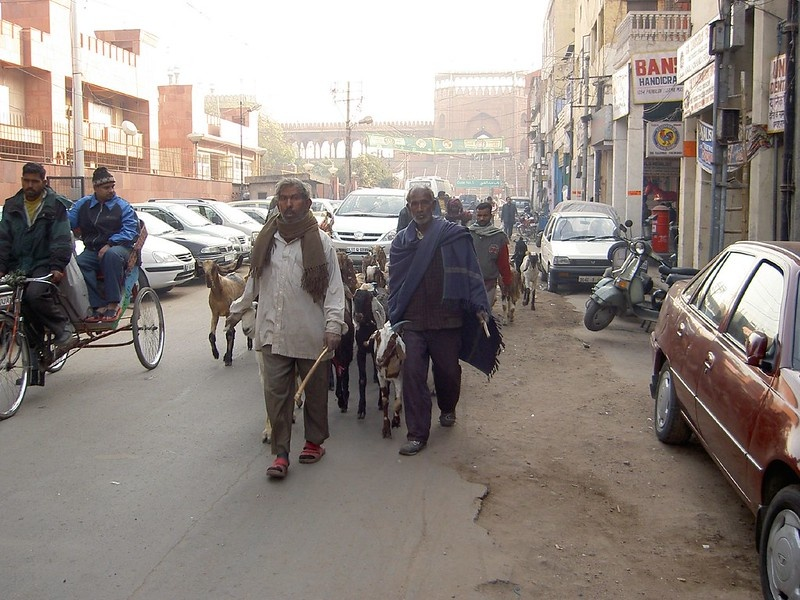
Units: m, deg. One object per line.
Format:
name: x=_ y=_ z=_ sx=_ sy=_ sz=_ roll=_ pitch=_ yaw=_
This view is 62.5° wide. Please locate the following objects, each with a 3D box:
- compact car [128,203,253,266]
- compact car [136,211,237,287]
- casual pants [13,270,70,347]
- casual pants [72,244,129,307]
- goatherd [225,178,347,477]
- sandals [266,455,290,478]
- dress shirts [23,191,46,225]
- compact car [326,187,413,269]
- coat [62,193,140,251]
compact car: x=-5.537 y=-1.599 z=17.561 sx=3.122 sy=1.384 sz=1.597 roll=6 pitch=10 yaw=25
compact car: x=-4.880 y=-1.375 z=15.733 sx=3.529 sy=1.494 sz=1.643 roll=9 pitch=13 yaw=26
casual pants: x=-3.711 y=0.102 z=6.950 sx=0.427 sy=0.477 sz=0.687 roll=-18 pitch=-10 yaw=-3
casual pants: x=-3.479 y=-0.276 z=7.745 sx=0.555 sy=0.712 sz=0.376 roll=-1 pitch=9 yaw=-13
goatherd: x=-0.977 y=0.212 z=5.714 sx=0.821 sy=2.507 sz=0.751 roll=-1 pitch=4 yaw=-9
sandals: x=-0.991 y=1.366 z=5.375 sx=0.083 sy=0.114 sz=0.240 roll=-1 pitch=-8 yaw=2
dress shirts: x=-3.872 y=-0.990 z=7.028 sx=0.200 sy=0.201 sz=0.306 roll=-4 pitch=-3 yaw=-7
compact car: x=-0.733 y=-1.691 z=14.184 sx=1.015 sy=1.206 sz=2.211 roll=-1 pitch=6 yaw=8
coat: x=-3.526 y=-0.925 z=7.865 sx=0.838 sy=0.786 sz=0.576 roll=1 pitch=2 yaw=-6
